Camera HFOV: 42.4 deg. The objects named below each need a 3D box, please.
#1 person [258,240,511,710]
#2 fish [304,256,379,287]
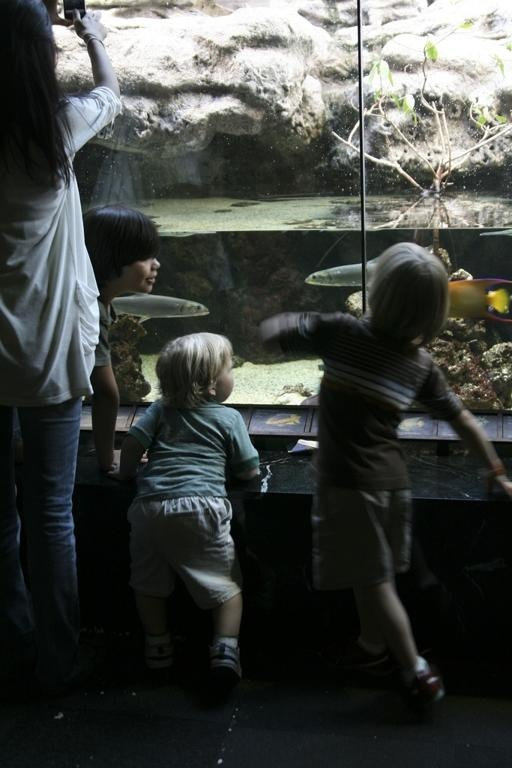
[{"bbox_3d":[0.311,0.235,1.527,0.543,1.089,0.169,-5,16,-1],"label":"person"},{"bbox_3d":[0.317,-0.380,2.252,0.303,0.083,0.078,-4,7,8],"label":"fish"}]
